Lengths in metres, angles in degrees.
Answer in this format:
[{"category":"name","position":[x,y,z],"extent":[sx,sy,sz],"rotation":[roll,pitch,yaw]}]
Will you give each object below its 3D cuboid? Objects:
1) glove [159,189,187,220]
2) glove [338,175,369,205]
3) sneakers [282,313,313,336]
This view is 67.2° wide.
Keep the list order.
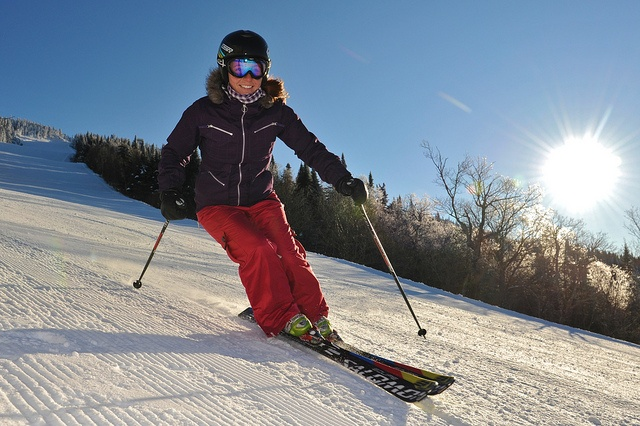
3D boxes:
[{"category":"glove","position":[-1.648,-0.101,5.479],"extent":[0.243,0.353,0.332],"rotation":[-14,25,-36]},{"category":"glove","position":[0.397,-0.266,5.631],"extent":[0.378,0.274,0.148],"rotation":[49,-2,8]},{"category":"sneakers","position":[-0.231,1.150,4.987],"extent":[0.245,0.187,0.134],"rotation":[-13,-47,35]}]
